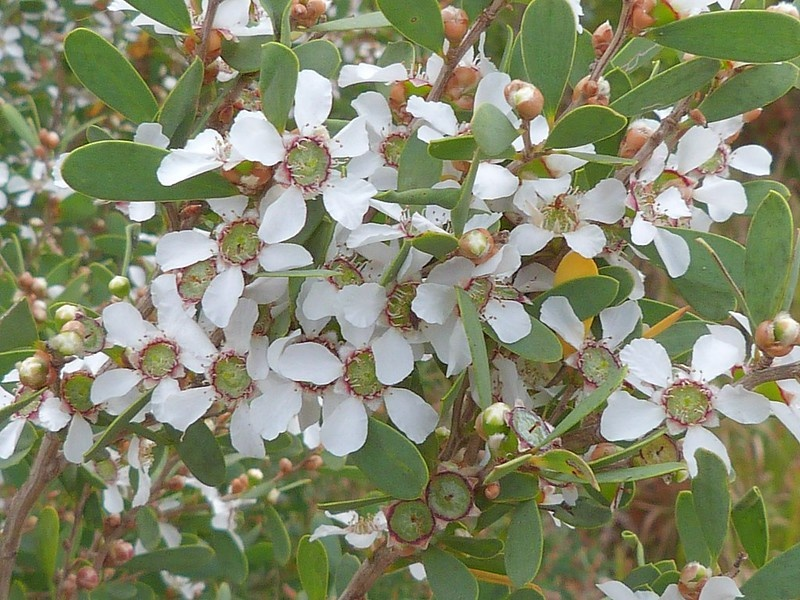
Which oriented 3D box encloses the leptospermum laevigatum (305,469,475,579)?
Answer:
[{"bbox_3d":[-0.010,0.370,2.222,0.259,0.087,0.144,-18,93,11],"label":"leptospermum laevigatum"}]
